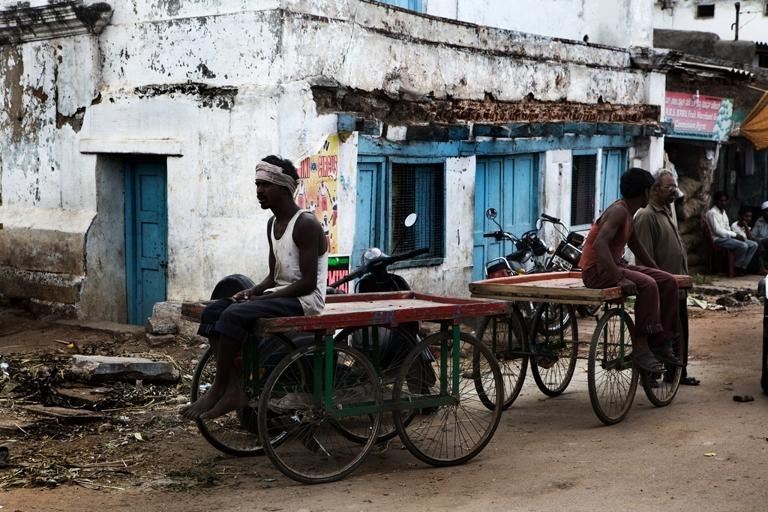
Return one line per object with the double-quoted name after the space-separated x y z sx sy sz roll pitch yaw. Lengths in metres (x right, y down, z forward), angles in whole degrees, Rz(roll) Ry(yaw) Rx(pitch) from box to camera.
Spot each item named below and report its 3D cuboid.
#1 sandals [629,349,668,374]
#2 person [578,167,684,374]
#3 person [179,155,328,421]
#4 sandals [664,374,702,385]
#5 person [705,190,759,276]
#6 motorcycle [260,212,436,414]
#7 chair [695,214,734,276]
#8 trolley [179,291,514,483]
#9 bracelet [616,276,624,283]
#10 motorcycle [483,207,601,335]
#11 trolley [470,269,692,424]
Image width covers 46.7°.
2.882 1.183 9.700 0.222 0.115 0.315 -15 26 -43 "sandals"
2.748 0.257 9.817 1.139 2.385 0.792 3 13 7 "person"
-1.150 0.253 8.425 1.242 2.320 0.905 -1 13 -10 "person"
3.569 1.473 10.655 0.382 0.183 0.135 -2 7 -1 "sandals"
7.397 -0.511 18.949 0.675 1.753 0.905 -3 3 -43 "person"
0.045 0.534 9.529 0.862 1.502 1.719 -23 6 -26 "motorcycle"
7.201 -0.158 19.079 0.730 1.262 0.723 -1 -10 27 "chair"
-0.294 1.296 9.347 2.839 1.665 1.921 -1 2 -30 "trolley"
2.527 0.248 9.479 0.057 0.060 0.100 7 6 -12 "bracelet"
2.380 0.070 14.178 2.200 1.629 1.333 -2 -2 -40 "motorcycle"
2.338 1.083 10.556 1.641 1.441 2.403 1 -2 34 "trolley"
